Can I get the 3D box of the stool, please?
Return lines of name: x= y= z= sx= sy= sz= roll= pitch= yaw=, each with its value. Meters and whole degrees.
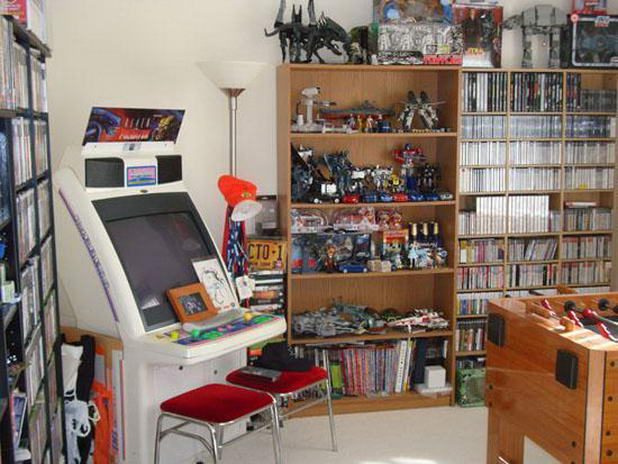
stool: x=-0.420 y=1.138 z=3.361 sx=0.435 sy=0.412 sz=0.858 roll=4 pitch=6 yaw=33

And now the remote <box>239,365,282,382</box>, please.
remote: x=-0.300 y=0.869 z=3.339 sx=0.192 sy=0.038 sz=0.099 roll=3 pitch=6 yaw=19

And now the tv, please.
tv: x=-0.878 y=0.158 z=3.266 sx=0.056 sy=0.733 sz=0.775 roll=-22 pitch=-2 yaw=33
